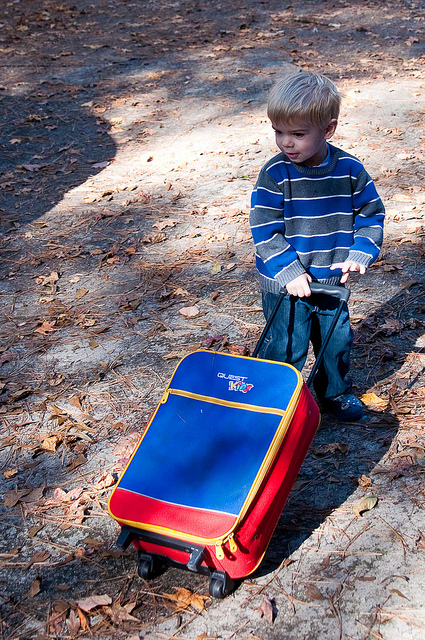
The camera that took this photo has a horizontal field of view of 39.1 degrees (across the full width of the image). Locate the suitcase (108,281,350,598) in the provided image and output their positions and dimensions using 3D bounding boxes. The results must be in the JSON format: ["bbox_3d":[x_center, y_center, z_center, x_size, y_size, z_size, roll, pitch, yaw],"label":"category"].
[{"bbox_3d":[0.017,0.454,2.404,1.062,0.794,1.022,6,31,3],"label":"suitcase"}]

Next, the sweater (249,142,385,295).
[{"bbox_3d":[0.445,-0.397,2.523,0.565,0.645,0.333,-7,39,-3],"label":"sweater"}]
